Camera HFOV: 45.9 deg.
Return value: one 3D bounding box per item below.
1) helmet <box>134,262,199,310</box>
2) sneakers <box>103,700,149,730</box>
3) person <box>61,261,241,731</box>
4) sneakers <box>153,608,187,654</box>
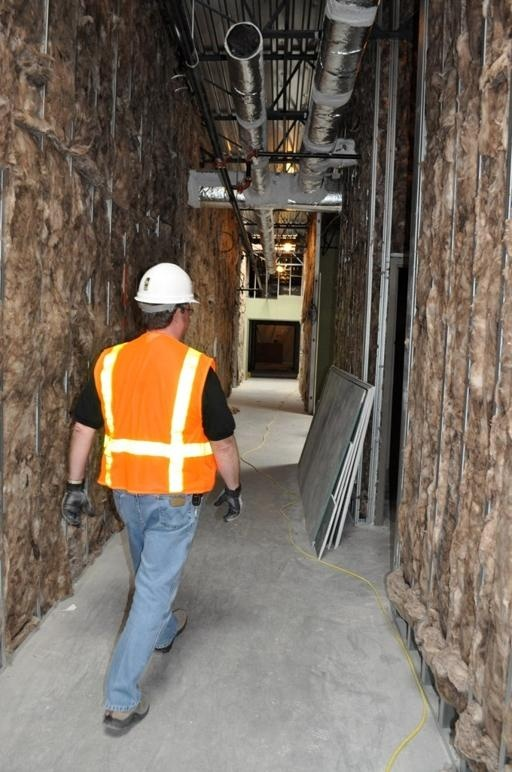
[{"bbox_3d":[-0.329,-0.384,2.284,0.157,0.169,0.208,4,21,10],"label":"helmet"},{"bbox_3d":[-0.433,1.110,2.060,0.057,0.073,0.159,4,6,18],"label":"sneakers"},{"bbox_3d":[-0.386,0.464,2.190,0.642,1.307,0.513,1,5,-4],"label":"person"},{"bbox_3d":[-0.347,1.017,2.559,0.059,0.058,0.194,16,58,7],"label":"sneakers"}]
